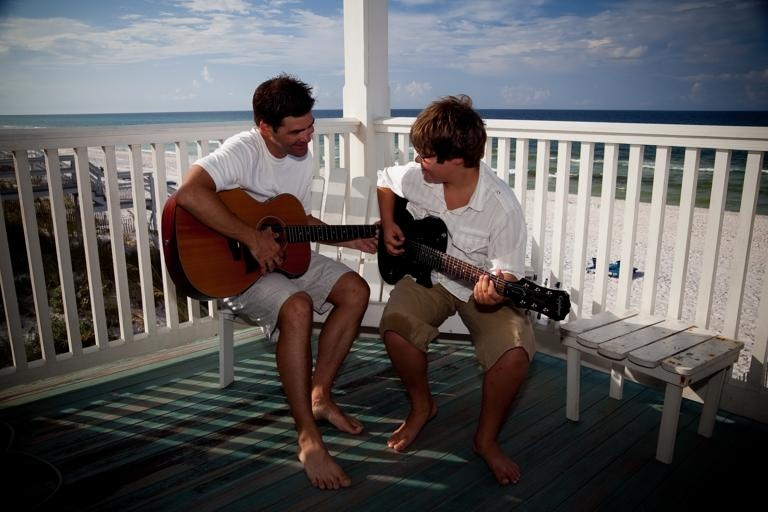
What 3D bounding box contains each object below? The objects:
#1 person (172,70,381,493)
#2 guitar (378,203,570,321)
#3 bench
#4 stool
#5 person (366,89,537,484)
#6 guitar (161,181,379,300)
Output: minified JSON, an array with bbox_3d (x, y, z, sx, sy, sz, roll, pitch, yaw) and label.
[{"bbox_3d":[-0.456,0.039,2.570,0.818,1.900,0.785,5,14,29],"label":"person"},{"bbox_3d":[0.465,0.010,2.574,1.144,0.470,0.137,25,23,37],"label":"guitar"},{"bbox_3d":[-0.055,0.135,2.589,1.152,0.478,0.792,8,29,8],"label":"bench"},{"bbox_3d":[1.478,0.732,2.727,0.804,0.558,0.776,-15,22,-39],"label":"stool"},{"bbox_3d":[0.332,0.116,2.459,0.824,1.780,0.596,2,13,19],"label":"person"},{"bbox_3d":[-0.427,-0.092,2.478,1.208,0.560,0.175,1,-5,18],"label":"guitar"}]
